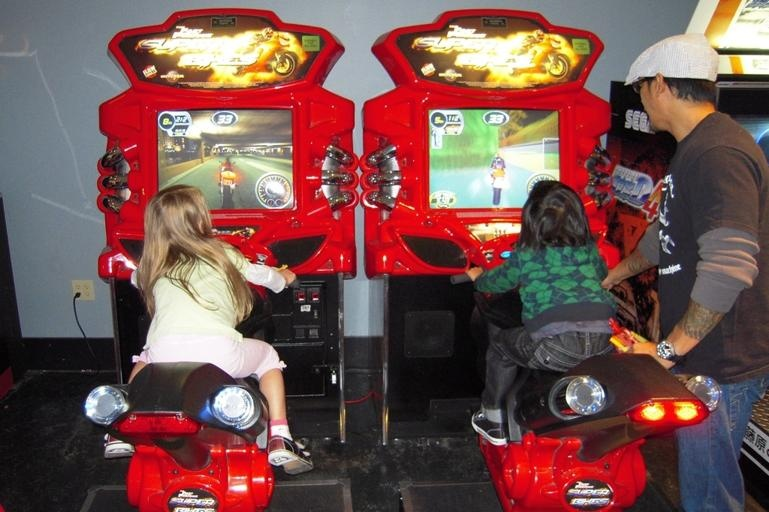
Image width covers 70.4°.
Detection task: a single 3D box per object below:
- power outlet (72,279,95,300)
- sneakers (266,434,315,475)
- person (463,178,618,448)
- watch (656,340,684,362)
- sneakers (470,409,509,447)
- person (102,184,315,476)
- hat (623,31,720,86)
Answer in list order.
[{"bbox_3d":[-2.357,0.258,4.260,0.175,0.163,0.018,0,7,-7],"label":"power outlet"},{"bbox_3d":[-0.504,1.072,2.959,0.168,0.370,0.156,-19,52,9],"label":"sneakers"},{"bbox_3d":[0.808,0.330,2.851,0.715,1.320,0.616,2,24,9],"label":"person"},{"bbox_3d":[1.179,0.406,2.277,0.085,0.106,0.039,-14,14,21],"label":"watch"},{"bbox_3d":[0.585,0.967,3.024,0.113,0.119,0.293,-10,1,-10],"label":"sneakers"},{"bbox_3d":[-0.990,0.399,3.028,1.142,1.429,0.987,0,1,8],"label":"person"},{"bbox_3d":[1.312,-0.910,2.551,0.425,0.217,0.302,12,22,31],"label":"hat"}]
